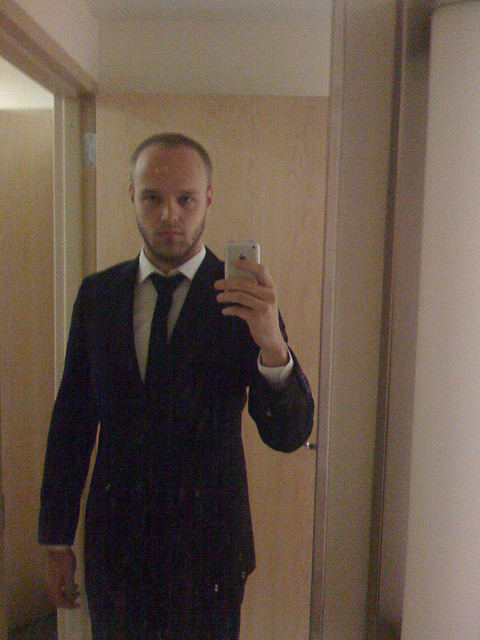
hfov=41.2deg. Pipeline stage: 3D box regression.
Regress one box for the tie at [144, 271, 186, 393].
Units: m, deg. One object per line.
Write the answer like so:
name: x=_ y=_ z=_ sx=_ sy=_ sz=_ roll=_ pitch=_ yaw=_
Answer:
tie: x=-0.133 y=0.019 z=1.119 sx=0.075 sy=0.206 sz=0.029 roll=-2 pitch=-4 yaw=-5

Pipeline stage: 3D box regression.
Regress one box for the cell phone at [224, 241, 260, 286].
cell phone: x=0.005 y=-0.097 z=1.097 sx=0.041 sy=0.099 sz=0.010 roll=2 pitch=12 yaw=9
